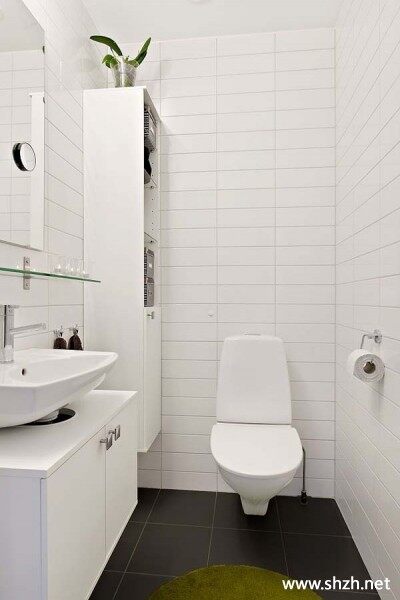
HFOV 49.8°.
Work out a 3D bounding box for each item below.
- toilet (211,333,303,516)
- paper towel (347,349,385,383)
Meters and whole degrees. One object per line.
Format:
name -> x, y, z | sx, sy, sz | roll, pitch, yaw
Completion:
toilet -> 0.233, 0.583, 1.833 | 0.298, 0.732, 0.642 | 0, 6, 0
paper towel -> 0.563, 0.222, 1.438 | 0.087, 0.118, 0.122 | 9, -1, -6
